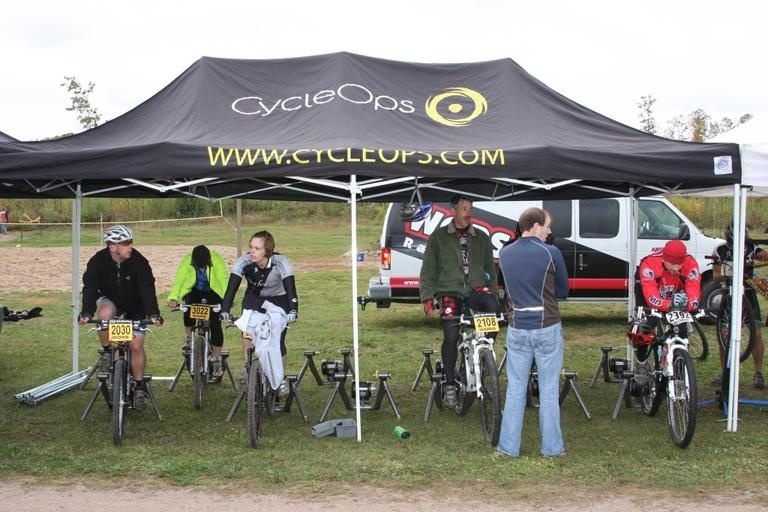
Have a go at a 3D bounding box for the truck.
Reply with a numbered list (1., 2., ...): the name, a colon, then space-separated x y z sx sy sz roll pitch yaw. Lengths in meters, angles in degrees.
1. truck: 2.952 0.020 19.414 5.586 1.958 2.764 -1 1 -4

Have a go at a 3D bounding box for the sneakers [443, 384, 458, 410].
1. sneakers: 0.916 1.906 13.394 0.194 0.299 0.116 0 -4 2

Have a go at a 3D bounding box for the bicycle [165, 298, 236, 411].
1. bicycle: -2.689 1.342 14.721 1.275 1.420 2.480 1 7 -4

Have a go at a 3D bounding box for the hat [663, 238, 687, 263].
1. hat: 3.848 -0.079 13.021 0.286 0.228 0.307 -2 23 8

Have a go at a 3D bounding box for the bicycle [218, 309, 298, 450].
1. bicycle: -1.625 1.502 12.898 0.668 1.700 1.363 3 11 15

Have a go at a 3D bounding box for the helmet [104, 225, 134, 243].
1. helmet: -3.567 -0.269 13.056 0.349 0.193 0.245 -8 3 15

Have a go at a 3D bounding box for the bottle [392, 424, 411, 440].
1. bottle: 0.227 2.290 12.870 0.164 0.141 0.254 -12 13 -24

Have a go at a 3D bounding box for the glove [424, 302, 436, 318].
1. glove: 0.627 0.776 13.359 0.108 0.117 0.276 -5 -37 2

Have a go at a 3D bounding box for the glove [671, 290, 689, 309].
1. glove: 3.849 0.588 12.779 0.229 0.215 0.167 10 -14 -17

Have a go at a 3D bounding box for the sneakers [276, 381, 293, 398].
1. sneakers: -1.363 1.845 13.566 0.160 0.227 0.239 3 4 4
